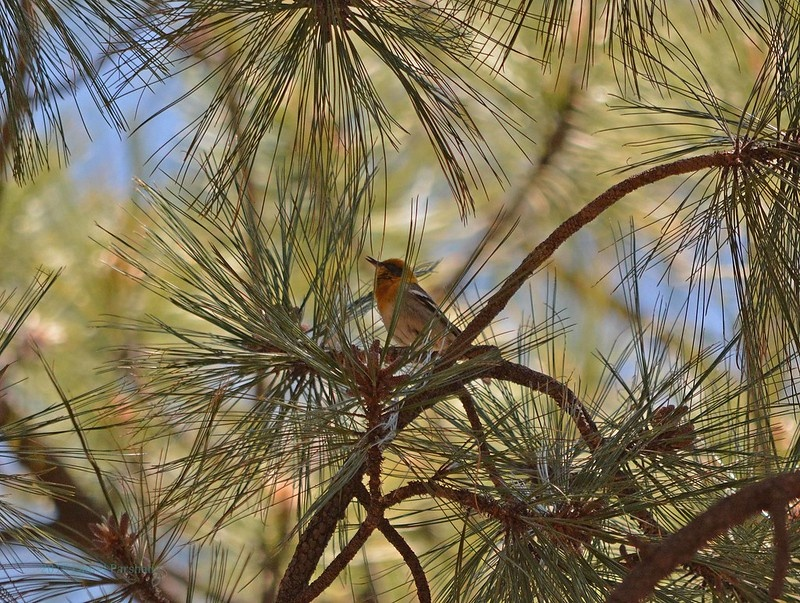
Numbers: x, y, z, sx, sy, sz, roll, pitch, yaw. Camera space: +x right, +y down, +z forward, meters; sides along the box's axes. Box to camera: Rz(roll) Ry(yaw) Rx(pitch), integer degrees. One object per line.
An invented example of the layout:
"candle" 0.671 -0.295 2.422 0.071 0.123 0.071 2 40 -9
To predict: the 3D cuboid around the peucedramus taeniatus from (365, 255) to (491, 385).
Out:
"peucedramus taeniatus" 0.141 0.082 6.095 0.744 0.537 0.276 16 -29 -33
